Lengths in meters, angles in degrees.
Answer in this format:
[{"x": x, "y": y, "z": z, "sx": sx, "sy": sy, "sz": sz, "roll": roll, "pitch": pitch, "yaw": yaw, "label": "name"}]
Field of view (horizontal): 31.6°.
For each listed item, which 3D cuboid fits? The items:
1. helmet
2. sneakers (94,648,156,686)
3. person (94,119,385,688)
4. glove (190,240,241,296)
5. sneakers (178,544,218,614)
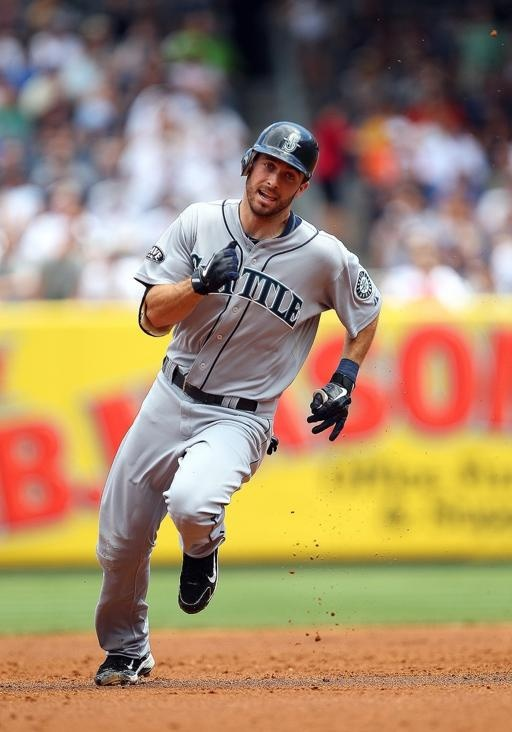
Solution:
[{"x": 0.086, "y": -0.721, "z": 3.088, "sx": 0.199, "sy": 0.172, "sz": 0.241, "roll": 31, "pitch": 12, "yaw": -5, "label": "helmet"}, {"x": -0.474, "y": 1.110, "z": 3.342, "sx": 0.099, "sy": 0.113, "sz": 0.252, "roll": -5, "pitch": -12, "yaw": 27, "label": "sneakers"}, {"x": -0.119, "y": 0.199, "z": 3.144, "sx": 0.633, "sy": 2.052, "sz": 0.839, "roll": 14, "pitch": 17, "yaw": 28, "label": "person"}, {"x": -0.125, "y": -0.290, "z": 2.788, "sx": 0.048, "sy": 0.163, "sz": 0.154, "roll": 46, "pitch": 32, "yaw": -17, "label": "glove"}, {"x": -0.197, "y": 0.729, "z": 3.070, "sx": 0.106, "sy": 0.249, "sz": 0.112, "roll": 7, "pitch": -11, "yaw": 5, "label": "sneakers"}]
